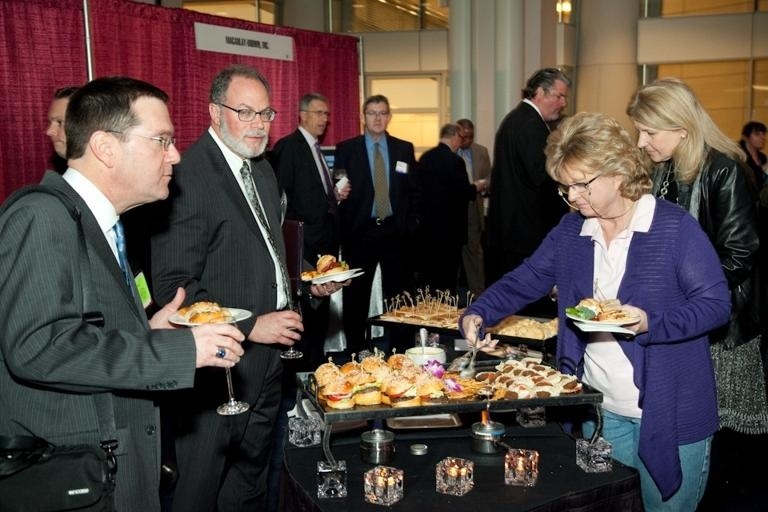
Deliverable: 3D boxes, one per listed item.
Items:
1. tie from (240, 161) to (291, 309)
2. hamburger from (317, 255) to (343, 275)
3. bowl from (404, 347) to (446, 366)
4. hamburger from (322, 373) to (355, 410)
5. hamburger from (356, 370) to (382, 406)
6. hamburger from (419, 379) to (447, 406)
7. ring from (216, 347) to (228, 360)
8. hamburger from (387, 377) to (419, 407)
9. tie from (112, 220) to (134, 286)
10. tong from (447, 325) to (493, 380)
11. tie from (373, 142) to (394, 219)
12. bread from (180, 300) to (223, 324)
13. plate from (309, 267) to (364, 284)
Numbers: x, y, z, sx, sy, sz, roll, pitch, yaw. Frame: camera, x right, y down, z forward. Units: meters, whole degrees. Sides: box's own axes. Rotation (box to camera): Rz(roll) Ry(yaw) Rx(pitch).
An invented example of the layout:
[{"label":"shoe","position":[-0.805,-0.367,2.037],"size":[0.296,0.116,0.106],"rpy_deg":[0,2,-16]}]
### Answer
[{"label":"tie","position":[-0.622,-0.083,3.164],"size":[0.095,0.797,0.115],"rpy_deg":[-14,2,9]},{"label":"hamburger","position":[-0.317,0.046,3.474],"size":[0.117,0.050,0.115],"rpy_deg":[-7,3,3]},{"label":"bowl","position":[0.231,0.543,3.402],"size":[0.159,0.120,0.176],"rpy_deg":[-1,-8,2]},{"label":"hamburger","position":[-0.184,0.559,2.515],"size":[0.115,0.098,0.101],"rpy_deg":[-7,9,-24]},{"label":"hamburger","position":[-0.060,0.566,2.581],"size":[0.136,0.125,0.140],"rpy_deg":[-5,-8,-7]},{"label":"hamburger","position":[0.208,0.557,2.535],"size":[0.127,0.070,0.105],"rpy_deg":[-6,9,-18]},{"label":"ring","position":[-0.581,0.344,2.170],"size":[0.038,0.036,0.014],"rpy_deg":[8,-4,-4]},{"label":"hamburger","position":[0.087,0.557,2.504],"size":[0.106,0.082,0.103],"rpy_deg":[1,-13,-6]},{"label":"tie","position":[-1.005,-0.012,2.358],"size":[0.049,0.333,0.037],"rpy_deg":[-10,-9,34]},{"label":"tong","position":[0.406,0.477,2.908],"size":[0.118,0.276,0.145],"rpy_deg":[30,22,-6]},{"label":"tie","position":[-0.042,-0.800,6.478],"size":[0.064,0.820,0.197],"rpy_deg":[2,-8,-42]},{"label":"bread","position":[-0.721,0.226,2.453],"size":[0.124,0.040,0.100],"rpy_deg":[-5,12,-42]},{"label":"plate","position":[-0.284,0.108,3.567],"size":[0.209,0.034,0.215],"rpy_deg":[-12,-6,31]}]
